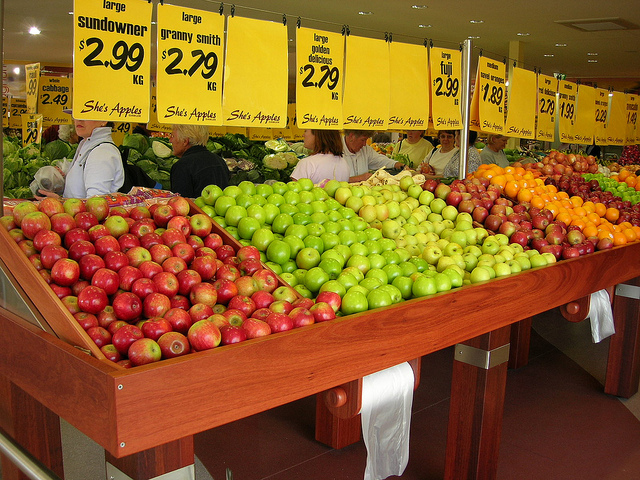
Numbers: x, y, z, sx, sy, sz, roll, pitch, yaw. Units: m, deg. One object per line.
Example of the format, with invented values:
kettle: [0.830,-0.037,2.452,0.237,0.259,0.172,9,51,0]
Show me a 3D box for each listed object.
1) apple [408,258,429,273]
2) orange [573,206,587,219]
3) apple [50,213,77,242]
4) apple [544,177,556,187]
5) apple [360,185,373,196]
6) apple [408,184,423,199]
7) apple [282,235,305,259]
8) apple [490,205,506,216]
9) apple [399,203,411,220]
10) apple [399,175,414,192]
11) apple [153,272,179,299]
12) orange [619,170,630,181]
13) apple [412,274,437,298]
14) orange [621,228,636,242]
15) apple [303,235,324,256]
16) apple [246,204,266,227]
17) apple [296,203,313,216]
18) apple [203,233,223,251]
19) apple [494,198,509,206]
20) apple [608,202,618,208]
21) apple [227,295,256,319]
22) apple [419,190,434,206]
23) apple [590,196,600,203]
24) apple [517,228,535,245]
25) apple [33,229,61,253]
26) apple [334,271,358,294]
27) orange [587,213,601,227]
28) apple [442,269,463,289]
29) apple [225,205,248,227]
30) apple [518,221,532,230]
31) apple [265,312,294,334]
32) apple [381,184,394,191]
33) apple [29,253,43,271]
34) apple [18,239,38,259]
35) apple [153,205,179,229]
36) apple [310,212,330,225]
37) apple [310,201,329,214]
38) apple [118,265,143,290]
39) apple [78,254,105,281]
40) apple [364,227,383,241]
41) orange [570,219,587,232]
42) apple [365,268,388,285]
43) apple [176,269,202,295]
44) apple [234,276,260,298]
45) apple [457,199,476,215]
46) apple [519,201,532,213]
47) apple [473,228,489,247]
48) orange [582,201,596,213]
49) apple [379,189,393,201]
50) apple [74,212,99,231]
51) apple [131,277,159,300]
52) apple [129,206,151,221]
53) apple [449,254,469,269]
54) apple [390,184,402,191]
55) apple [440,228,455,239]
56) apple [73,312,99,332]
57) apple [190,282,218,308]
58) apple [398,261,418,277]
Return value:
apple: [0.473,0.120,2.201,0.069,0.093,0.070,-5,-4,35]
orange: [1.866,-0.205,3.284,0.063,0.073,0.090,9,28,-16]
apple: [-0.944,-0.049,1.722,0.082,0.117,0.090,0,4,4]
apple: [1.855,-0.477,3.673,0.067,0.091,0.075,7,48,19]
apple: [0.265,-0.290,2.647,0.051,0.043,0.070,-22,-29,24]
apple: [0.600,-0.314,2.889,0.079,0.105,0.082,0,-2,-15]
apple: [-0.119,0.026,2.055,0.090,0.103,0.093,-1,6,-4]
apple: [1.120,-0.195,2.852,0.060,0.070,0.067,12,32,13]
apple: [0.497,-0.171,2.690,0.060,0.075,0.086,0,2,-8]
apple: [0.556,-0.375,2.987,0.088,0.114,0.088,5,-10,-29]
apple: [-0.530,0.156,1.606,0.080,0.086,0.079,4,-38,-48]
orange: [2.892,-0.621,4.337,0.079,0.109,0.086,0,6,16]
apple: [0.445,0.198,1.985,0.084,0.111,0.083,-3,15,-32]
orange: [2.152,-0.041,3.179,0.079,0.108,0.087,1,15,12]
apple: [-0.031,0.026,2.079,0.071,0.101,0.077,0,-12,-8]
apple: [-0.305,-0.121,2.200,0.083,0.115,0.087,-5,-6,-19]
apple: [-0.079,-0.162,2.310,0.056,0.063,0.060,1,8,-1]
apple: [-0.450,0.006,1.905,0.063,0.070,0.062,-19,30,-39]
apple: [1.182,-0.259,2.954,0.057,0.077,0.059,9,23,42]
apple: [2.287,-0.277,3.547,0.052,0.041,0.068,0,5,6]
apple: [-0.271,0.227,1.585,0.069,0.074,0.073,13,6,-19]
apple: [0.670,-0.249,2.894,0.081,0.097,0.081,-37,-18,19]
apple: [2.136,-0.319,3.534,0.045,0.060,0.045,-15,3,-31]
apple: [1.257,-0.037,2.740,0.088,0.118,0.088,-19,14,-30]
apple: [-0.970,-0.003,1.605,0.074,0.085,0.076,18,27,25]
apple: [0.109,0.183,1.905,0.066,0.090,0.069,10,-8,-31]
orange: [1.931,-0.144,3.218,0.061,0.078,0.065,-33,-4,2]
apple: [0.605,0.173,2.054,0.073,0.098,0.077,-4,-1,-16]
apple: [-0.402,-0.116,2.159,0.085,0.099,0.094,1,4,-4]
apple: [1.293,-0.097,2.870,0.052,0.057,0.055,2,12,-17]
apple: [-0.135,0.265,1.480,0.058,0.066,0.064,4,0,21]
apple: [0.418,-0.331,2.802,0.053,0.048,0.043,33,-11,-38]
apple: [-0.979,0.079,1.568,0.033,0.036,0.038,13,39,6]
apple: [-1.047,0.027,1.630,0.054,0.059,0.061,9,36,-8]
apple: [-0.665,-0.103,1.958,0.084,0.093,0.095,6,48,-15]
apple: [0.000,-0.110,2.297,0.062,0.083,0.065,9,-10,40]
apple: [-0.006,-0.175,2.366,0.062,0.070,0.068,-5,9,-2]
apple: [-0.652,0.122,1.564,0.070,0.077,0.071,1,12,-35]
apple: [-0.784,0.090,1.558,0.080,0.086,0.077,0,1,-40]
apple: [0.277,-0.035,2.305,0.062,0.070,0.066,1,3,-9]
orange: [1.753,-0.112,3.072,0.066,0.079,0.088,-7,-39,30]
apple: [0.246,0.165,2.009,0.097,0.062,0.125,4,12,15]
apple: [-0.474,0.148,1.623,0.076,0.080,0.079,26,14,29]
apple: [-0.273,0.171,1.685,0.067,0.075,0.069,3,2,-21]
apple: [0.912,-0.201,2.826,0.081,0.095,0.088,-1,-3,-2]
apple: [1.407,-0.236,3.106,0.074,0.104,0.081,-3,16,15]
apple: [0.925,-0.021,2.648,0.077,0.103,0.084,-22,0,4]
orange: [2.000,-0.270,3.396,0.075,0.096,0.074,-33,25,-16]
apple: [0.391,-0.271,2.701,0.079,0.056,0.106,2,12,7]
apple: [-0.895,-0.075,1.737,0.062,0.069,0.067,12,26,32]
apple: [-0.590,0.166,1.533,0.062,0.086,0.067,3,-9,2]
apple: [-0.766,-0.113,1.932,0.060,0.069,0.062,17,9,39]
apple: [0.714,0.105,2.335,0.067,0.085,0.071,11,55,42]
apple: [0.483,-0.328,2.883,0.048,0.066,0.052,-4,-18,-11]
apple: [0.738,-0.042,2.623,0.054,0.070,0.057,26,-10,19]
apple: [-0.739,0.254,1.448,0.052,0.057,0.055,15,32,27]
apple: [-0.404,0.193,1.581,0.075,0.085,0.080,9,-20,-14]
apple: [0.414,0.138,2.138,0.060,0.083,0.066,0,-1,-11]
